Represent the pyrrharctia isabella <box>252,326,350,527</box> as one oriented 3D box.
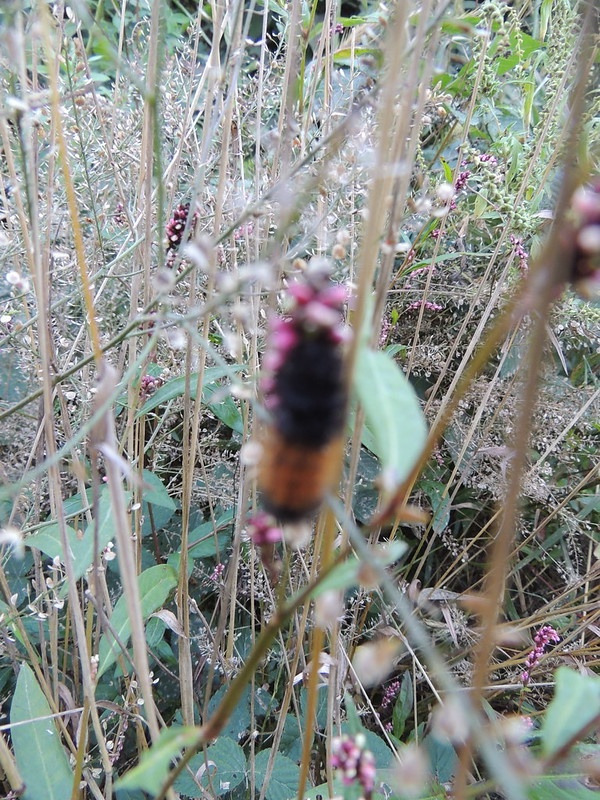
[{"bbox_3d":[0.003,0.019,0.505,0.057,0.144,0.087,10,31,-3],"label":"pyrrharctia isabella"}]
